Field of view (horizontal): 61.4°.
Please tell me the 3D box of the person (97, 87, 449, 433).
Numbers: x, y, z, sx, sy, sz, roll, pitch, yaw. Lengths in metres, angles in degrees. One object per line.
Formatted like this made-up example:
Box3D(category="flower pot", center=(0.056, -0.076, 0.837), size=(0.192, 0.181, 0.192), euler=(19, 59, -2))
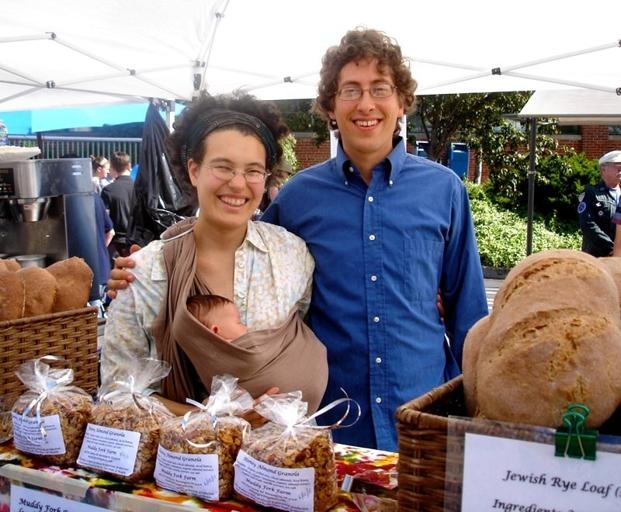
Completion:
Box3D(category="person", center=(-0.299, -0.066, 1.833), size=(0.774, 1.081, 0.651), euler=(4, 6, 10))
